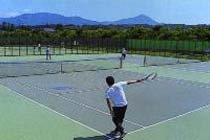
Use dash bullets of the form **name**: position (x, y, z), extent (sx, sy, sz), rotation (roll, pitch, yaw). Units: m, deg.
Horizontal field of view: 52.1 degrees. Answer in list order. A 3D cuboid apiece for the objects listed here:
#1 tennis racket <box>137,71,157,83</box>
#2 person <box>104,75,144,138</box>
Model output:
- **tennis racket**: position (3.281, 0.574, 17.032), extent (0.572, 0.200, 1.939), rotation (-30, -9, 34)
- **person**: position (0.532, 1.414, 7.985), extent (1.022, 2.342, 0.629), rotation (0, 4, -2)
